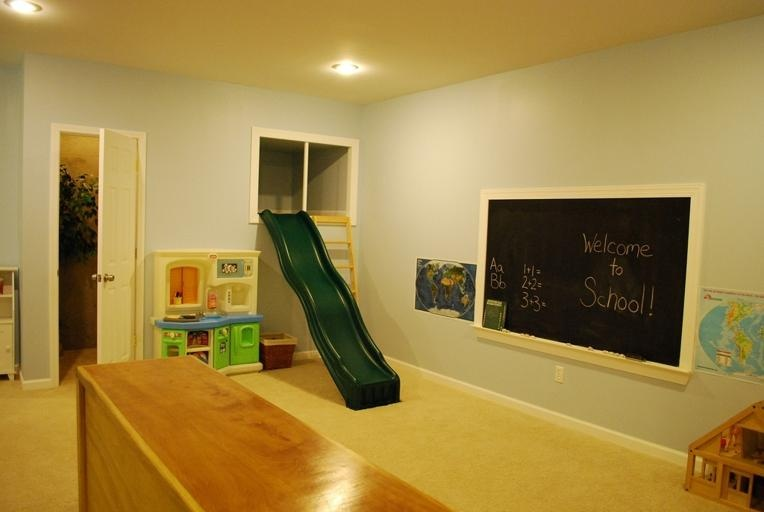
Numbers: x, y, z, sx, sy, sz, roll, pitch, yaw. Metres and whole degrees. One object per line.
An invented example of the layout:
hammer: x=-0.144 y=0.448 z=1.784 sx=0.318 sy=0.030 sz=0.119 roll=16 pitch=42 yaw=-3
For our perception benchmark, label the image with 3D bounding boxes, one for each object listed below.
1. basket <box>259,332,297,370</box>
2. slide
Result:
basket: x=-1.370 y=1.229 z=6.785 sx=0.390 sy=0.348 sz=0.465 roll=1 pitch=-2 yaw=-21
slide: x=-0.569 y=0.668 z=6.210 sx=0.867 sy=0.795 sz=3.841 roll=-3 pitch=44 yaw=-32
